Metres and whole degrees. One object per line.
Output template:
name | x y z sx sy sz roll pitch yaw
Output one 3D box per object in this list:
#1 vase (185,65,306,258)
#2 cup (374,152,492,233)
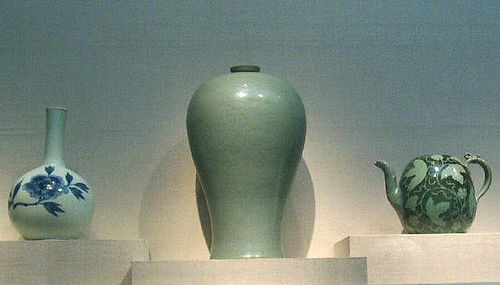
vase | -0.022 0.065 3.284 0.472 0.774 0.171 1 -12 -5
cup | 0.755 0.226 3.475 0.510 0.349 0.314 1 -11 -5
